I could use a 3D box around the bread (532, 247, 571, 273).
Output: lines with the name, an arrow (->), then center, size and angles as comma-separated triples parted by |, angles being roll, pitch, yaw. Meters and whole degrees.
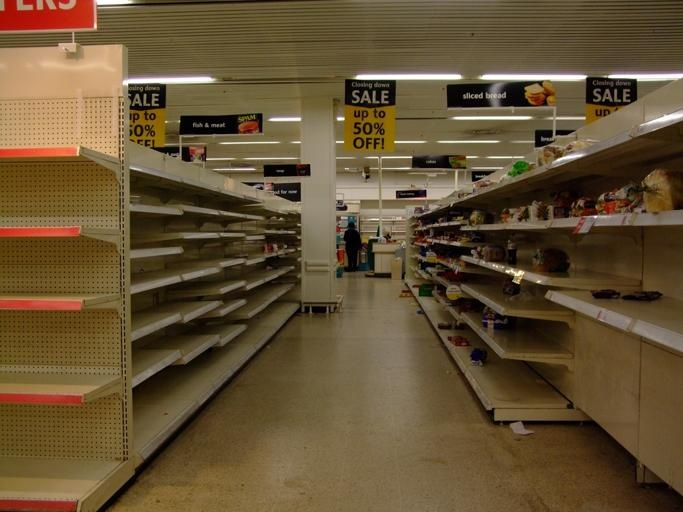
bread -> 1.906, 0.107, 4.716 | 0.290, 0.173, 0.191 | 2, -17, 4
